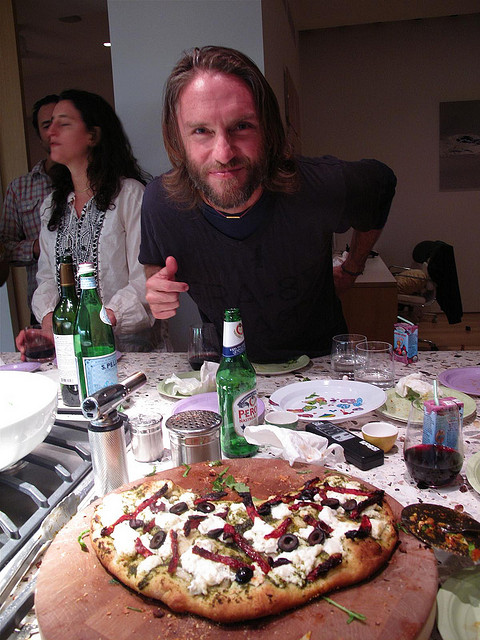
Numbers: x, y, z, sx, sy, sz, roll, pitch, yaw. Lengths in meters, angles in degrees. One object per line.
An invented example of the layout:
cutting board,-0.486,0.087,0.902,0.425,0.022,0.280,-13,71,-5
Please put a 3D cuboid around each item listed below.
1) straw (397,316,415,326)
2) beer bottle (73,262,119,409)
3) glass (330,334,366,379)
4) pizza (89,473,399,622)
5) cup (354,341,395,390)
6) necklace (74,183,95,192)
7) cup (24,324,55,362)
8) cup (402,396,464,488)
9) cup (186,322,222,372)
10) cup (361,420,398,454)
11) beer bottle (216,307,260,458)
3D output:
straw,0.909,0.001,2.664,0.111,0.013,0.013,31,43,-5
beer bottle,-0.360,0.057,1.221,0.105,0.409,0.106,-1,21,0
glass,0.353,0.103,1.400,0.116,0.131,0.120,-4,10,-11
pizza,0.003,0.276,0.641,0.390,0.055,0.286,-1,10,-9
cup,0.360,0.114,1.306,0.113,0.121,0.115,-3,7,0
necklace,-0.748,-0.636,2.357,0.157,0.029,0.014,4,10,40
cup,-0.703,0.071,1.711,0.128,0.133,0.127,-1,2,0
cup,0.327,0.204,0.829,0.098,0.141,0.097,2,9,0
cup,-0.100,0.084,1.391,0.103,0.143,0.103,-2,2,0
cup,0.284,0.226,0.970,0.058,0.038,0.059,0,8,0
beer bottle,-0.005,0.120,0.931,0.075,0.290,0.076,-3,15,1
